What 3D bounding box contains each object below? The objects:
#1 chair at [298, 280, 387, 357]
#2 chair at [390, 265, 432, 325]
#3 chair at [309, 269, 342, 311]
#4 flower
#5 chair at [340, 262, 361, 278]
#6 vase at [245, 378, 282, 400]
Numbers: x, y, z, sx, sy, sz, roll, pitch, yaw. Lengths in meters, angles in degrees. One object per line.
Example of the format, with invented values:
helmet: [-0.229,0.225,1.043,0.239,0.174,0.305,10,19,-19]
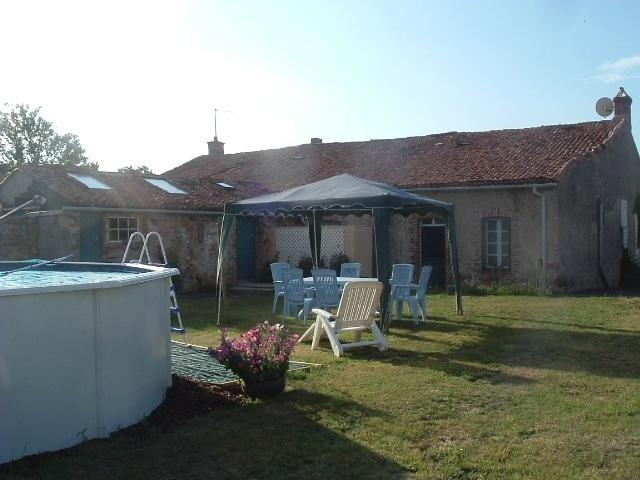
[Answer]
chair: [0.337,1.223,9.686,0.972,1.082,1.367,1,-1,-33]
chair: [1.859,1.134,12.396,1.008,1.579,1.131,-1,-1,27]
chair: [0.212,0.965,11.134,0.614,1.006,0.712,1,2,19]
flower: [-0.789,1.438,7.458,0.744,0.585,0.802,4,-2,10]
chair: [0.735,0.731,13.747,0.299,0.542,0.363,-1,-3,25]
vase: [-0.679,1.838,7.237,0.497,0.227,0.153,-1,9,-11]
